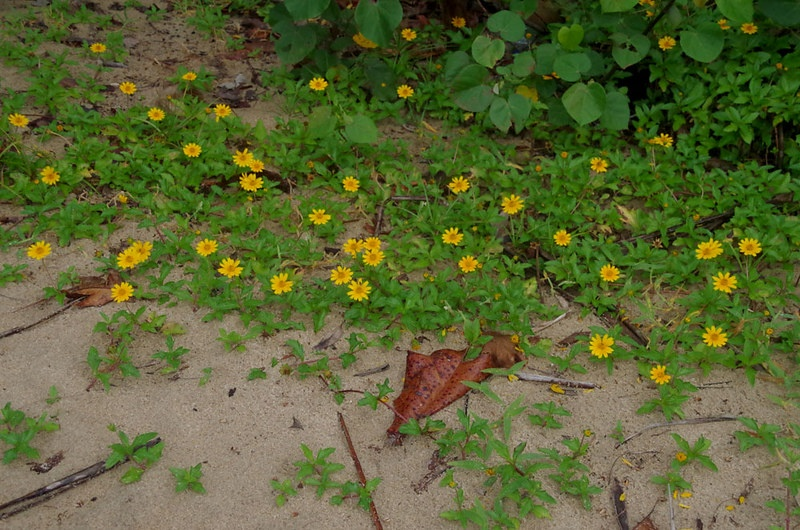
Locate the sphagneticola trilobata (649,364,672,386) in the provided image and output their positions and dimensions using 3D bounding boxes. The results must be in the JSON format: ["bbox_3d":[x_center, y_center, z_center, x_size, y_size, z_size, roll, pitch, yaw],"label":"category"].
[{"bbox_3d":[1.797,0.756,4.525,0.143,0.159,0.141,10,-27,24],"label":"sphagneticola trilobata"}]

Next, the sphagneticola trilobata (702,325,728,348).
[{"bbox_3d":[2.190,0.498,4.585,0.157,0.155,0.077,21,-24,1],"label":"sphagneticola trilobata"}]

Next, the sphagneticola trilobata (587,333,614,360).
[{"bbox_3d":[1.419,0.582,4.633,0.171,0.185,0.142,12,-26,19],"label":"sphagneticola trilobata"}]
